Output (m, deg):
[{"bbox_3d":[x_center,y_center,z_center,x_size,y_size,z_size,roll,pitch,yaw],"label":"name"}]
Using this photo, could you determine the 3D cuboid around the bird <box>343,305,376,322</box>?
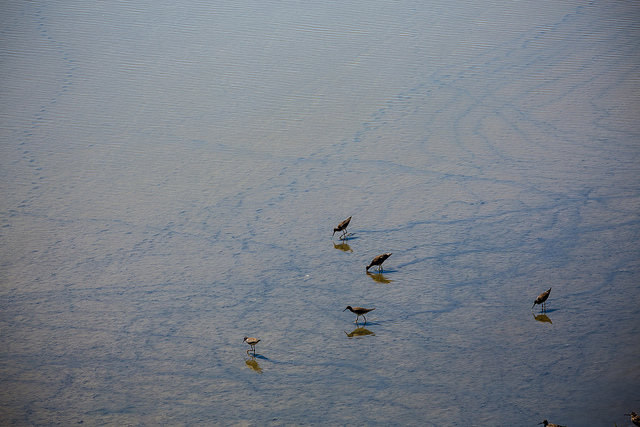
[{"bbox_3d":[0.760,1.960,15.060,0.531,0.294,0.281,4,-61,-7],"label":"bird"}]

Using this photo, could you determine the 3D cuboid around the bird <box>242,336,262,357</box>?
[{"bbox_3d":[-1.301,2.518,14.591,0.340,0.490,0.301,-1,-65,-5],"label":"bird"}]
